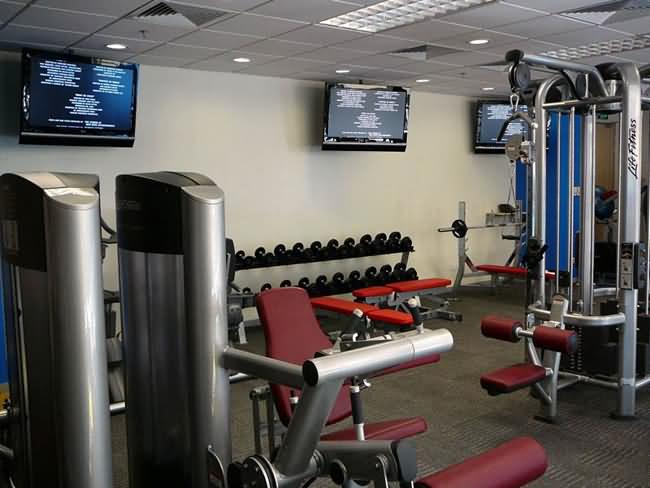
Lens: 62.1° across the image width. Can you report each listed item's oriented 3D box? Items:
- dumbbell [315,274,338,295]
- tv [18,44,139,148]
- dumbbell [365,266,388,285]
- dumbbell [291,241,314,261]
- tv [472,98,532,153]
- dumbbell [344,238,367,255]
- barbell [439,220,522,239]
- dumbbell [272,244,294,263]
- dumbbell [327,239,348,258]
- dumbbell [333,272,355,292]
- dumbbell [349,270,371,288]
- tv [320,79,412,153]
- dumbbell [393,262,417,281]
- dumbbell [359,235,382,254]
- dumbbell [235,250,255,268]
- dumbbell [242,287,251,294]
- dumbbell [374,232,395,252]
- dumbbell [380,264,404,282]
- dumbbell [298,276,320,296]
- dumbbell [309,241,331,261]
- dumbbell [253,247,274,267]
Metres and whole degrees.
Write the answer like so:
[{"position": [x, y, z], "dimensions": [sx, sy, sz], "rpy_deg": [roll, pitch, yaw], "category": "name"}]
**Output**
[{"position": [-0.012, 0.434, 5.844], "dimensions": [0.204, 0.193, 0.197], "rpy_deg": [-1, 1, -43], "category": "dumbbell"}, {"position": [-2.017, -1.212, 4.327], "dimensions": [0.795, 0.579, 0.134], "rpy_deg": [-8, 19, -40], "category": "tv"}, {"position": [0.564, 0.360, 6.178], "dimensions": [0.231, 0.095, 0.208], "rpy_deg": [-8, 2, -30], "category": "dumbbell"}, {"position": [-0.255, 0.077, 5.829], "dimensions": [0.145, 0.129, 0.242], "rpy_deg": [-3, 2, -22], "category": "dumbbell"}, {"position": [2.352, -1.607, 7.345], "dimensions": [0.701, 0.679, 0.720], "rpy_deg": [2, 8, 17], "category": "tv"}, {"position": [0.338, 0.036, 6.185], "dimensions": [0.200, 0.183, 0.265], "rpy_deg": [-1, 5, 21], "category": "dumbbell"}, {"position": [2.066, -0.216, 7.346], "dimensions": [1.379, 0.299, 0.268], "rpy_deg": [-1, 1, -32], "category": "barbell"}, {"position": [-0.447, 0.087, 5.822], "dimensions": [0.183, 0.199, 0.399], "rpy_deg": [1, 8, 11], "category": "dumbbell"}, {"position": [0.103, 0.038, 6.068], "dimensions": [0.226, 0.213, 0.199], "rpy_deg": [-2, 2, -39], "category": "dumbbell"}, {"position": [0.170, 0.421, 6.008], "dimensions": [0.252, 0.225, 0.148], "rpy_deg": [-4, 7, -25], "category": "dumbbell"}, {"position": [0.373, 0.389, 6.103], "dimensions": [0.198, 0.151, 0.195], "rpy_deg": [0, -4, 14], "category": "dumbbell"}, {"position": [0.407, -1.461, 6.030], "dimensions": [0.854, 0.568, 0.080], "rpy_deg": [-4, 14, -29], "category": "tv"}, {"position": [0.919, 0.315, 6.336], "dimensions": [0.229, 0.094, 0.223], "rpy_deg": [0, 5, -4], "category": "dumbbell"}, {"position": [0.498, -0.017, 6.318], "dimensions": [0.231, 0.227, 0.236], "rpy_deg": [1, 1, -31], "category": "dumbbell"}, {"position": [-0.844, 0.147, 5.520], "dimensions": [0.222, 0.180, 0.173], "rpy_deg": [-6, 9, -36], "category": "dumbbell"}, {"position": [-0.754, 0.431, 5.091], "dimensions": [0.095, 0.045, 0.127], "rpy_deg": [5, -8, -16], "category": "dumbbell"}, {"position": [0.677, -0.035, 6.390], "dimensions": [0.274, 0.250, 0.204], "rpy_deg": [-4, 4, -40], "category": "dumbbell"}, {"position": [0.774, 0.336, 6.278], "dimensions": [0.239, 0.085, 0.216], "rpy_deg": [-1, 39, 14], "category": "dumbbell"}, {"position": [-0.182, 0.454, 5.887], "dimensions": [0.213, 0.175, 0.400], "rpy_deg": [-3, 8, -17], "category": "dumbbell"}, {"position": [-0.073, 0.070, 5.877], "dimensions": [0.144, 0.131, 0.241], "rpy_deg": [-2, 2, -16], "category": "dumbbell"}, {"position": [-0.642, 0.129, 5.614], "dimensions": [0.199, 0.204, 0.113], "rpy_deg": [-1, 8, -8], "category": "dumbbell"}]
